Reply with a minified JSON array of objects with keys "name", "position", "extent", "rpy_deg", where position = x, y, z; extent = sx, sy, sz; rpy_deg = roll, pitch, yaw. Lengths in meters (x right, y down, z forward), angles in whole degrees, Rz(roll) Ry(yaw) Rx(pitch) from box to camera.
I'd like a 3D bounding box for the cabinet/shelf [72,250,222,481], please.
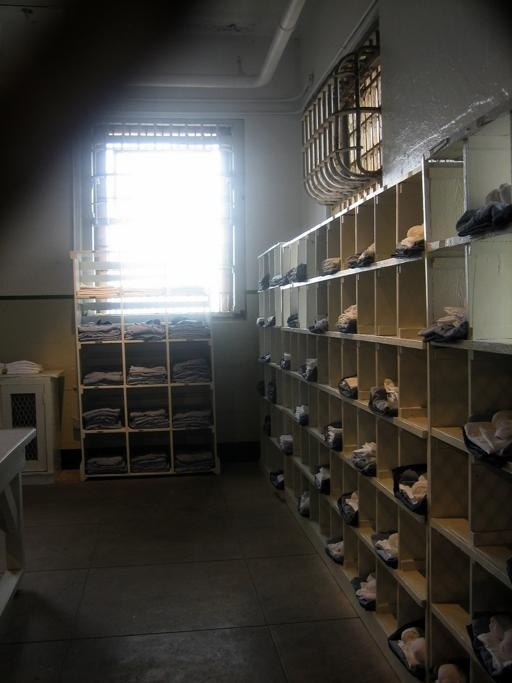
[{"name":"cabinet/shelf","position":[-1.066,0.208,5.523],"extent":[1.335,2.174,0.786],"rpy_deg":[0,1,-9]}]
